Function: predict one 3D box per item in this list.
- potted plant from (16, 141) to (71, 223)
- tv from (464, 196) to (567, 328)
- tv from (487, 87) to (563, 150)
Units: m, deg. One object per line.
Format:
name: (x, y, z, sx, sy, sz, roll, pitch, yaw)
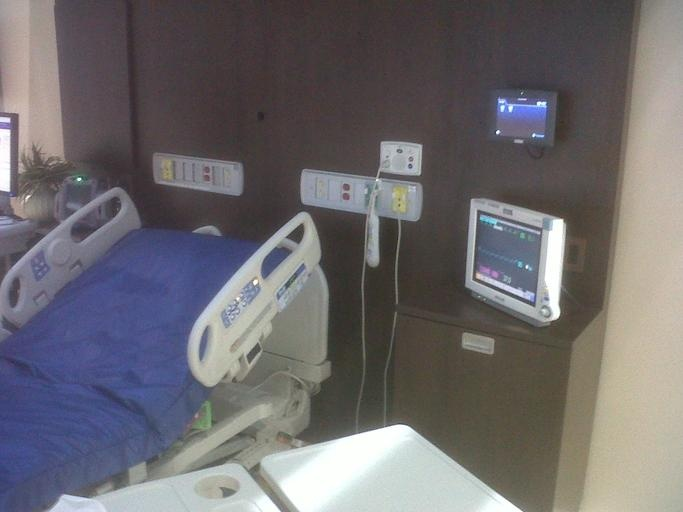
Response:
potted plant: (-1.667, -0.393, 3.088, 0.423, 0.465, 0.418, -2, 6, -37)
tv: (0.584, 0.029, 1.847, 0.094, 0.345, 0.337, -8, 18, -34)
tv: (0.659, -0.493, 1.955, 0.190, 0.178, 0.027, 12, 17, 36)
